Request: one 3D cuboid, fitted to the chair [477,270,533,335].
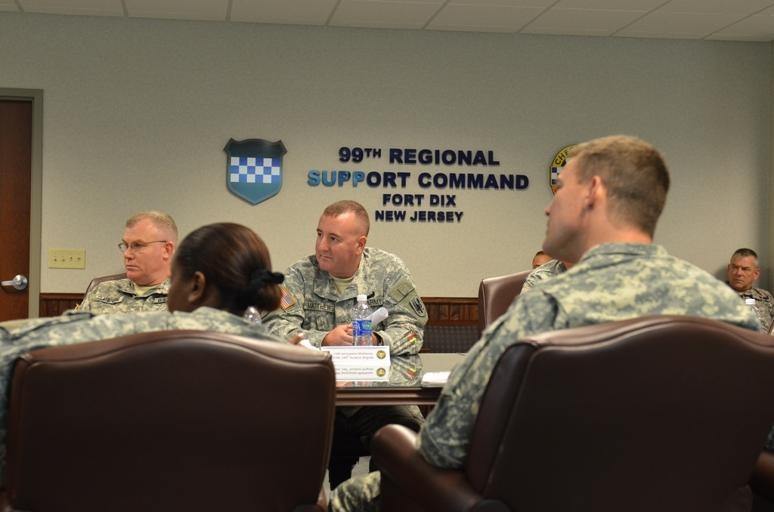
[{"bbox_3d":[0.671,0.269,3.484,0.294,0.386,0.309,9,-8,-17],"label":"chair"}]

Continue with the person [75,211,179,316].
[{"bbox_3d":[-1.568,0.040,3.616,0.724,0.511,0.359,0,-9,25],"label":"person"}]

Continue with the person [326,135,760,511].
[{"bbox_3d":[0.560,0.209,2.092,0.777,1.095,1.074,13,-15,-39],"label":"person"}]
